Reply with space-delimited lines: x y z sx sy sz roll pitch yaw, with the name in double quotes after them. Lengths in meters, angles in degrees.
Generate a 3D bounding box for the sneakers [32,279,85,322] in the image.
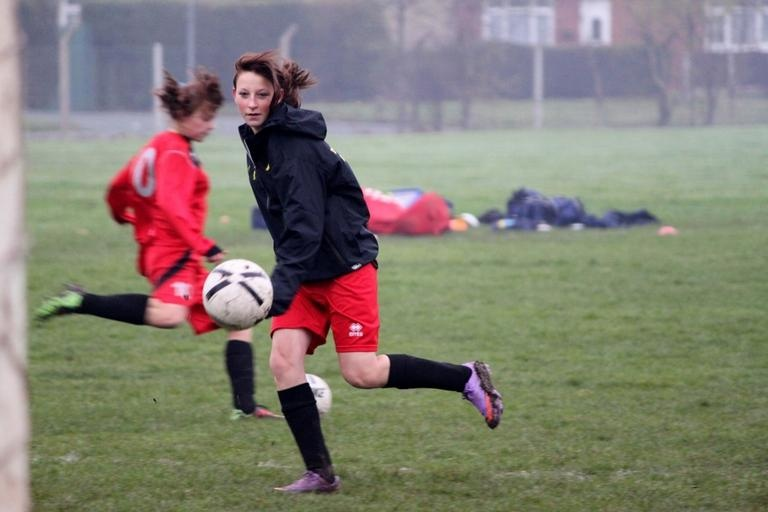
-2.481 0.354 12.229 0.409 0.107 0.261 -22 26 -22 "sneakers"

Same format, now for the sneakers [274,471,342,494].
-0.556 1.656 11.621 0.502 0.150 0.161 2 -12 -1 "sneakers"

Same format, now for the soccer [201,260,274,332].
-1.045 0.292 11.590 0.546 0.514 0.208 -1 6 17 "soccer"
